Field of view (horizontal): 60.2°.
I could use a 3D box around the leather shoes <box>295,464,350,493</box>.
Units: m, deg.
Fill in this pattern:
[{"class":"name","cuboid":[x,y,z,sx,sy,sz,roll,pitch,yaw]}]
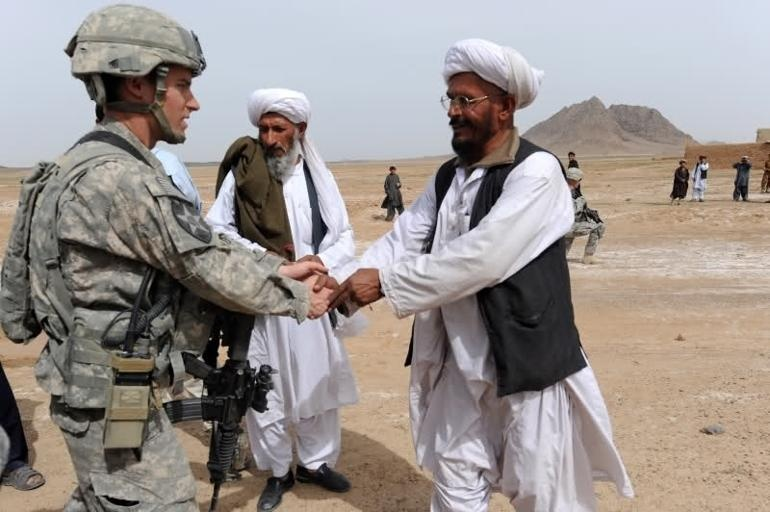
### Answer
[{"class":"leather shoes","cuboid":[-0.445,1.601,4.919,0.420,0.192,0.173,6,16,8]}]
